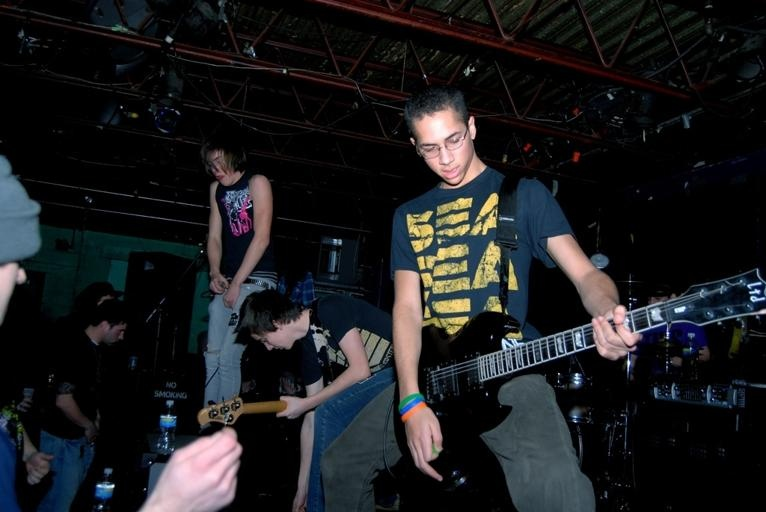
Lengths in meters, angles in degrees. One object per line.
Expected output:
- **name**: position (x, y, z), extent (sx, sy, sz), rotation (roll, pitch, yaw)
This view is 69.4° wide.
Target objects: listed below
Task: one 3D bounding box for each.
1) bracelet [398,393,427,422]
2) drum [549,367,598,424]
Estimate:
- **bracelet**: position (0.207, 1.231, 4.626), extent (0.236, 0.154, 0.223), rotation (-29, -33, -42)
- **drum**: position (2.991, 2.241, 8.842), extent (0.892, 0.931, 0.922), rotation (-2, -1, 23)
